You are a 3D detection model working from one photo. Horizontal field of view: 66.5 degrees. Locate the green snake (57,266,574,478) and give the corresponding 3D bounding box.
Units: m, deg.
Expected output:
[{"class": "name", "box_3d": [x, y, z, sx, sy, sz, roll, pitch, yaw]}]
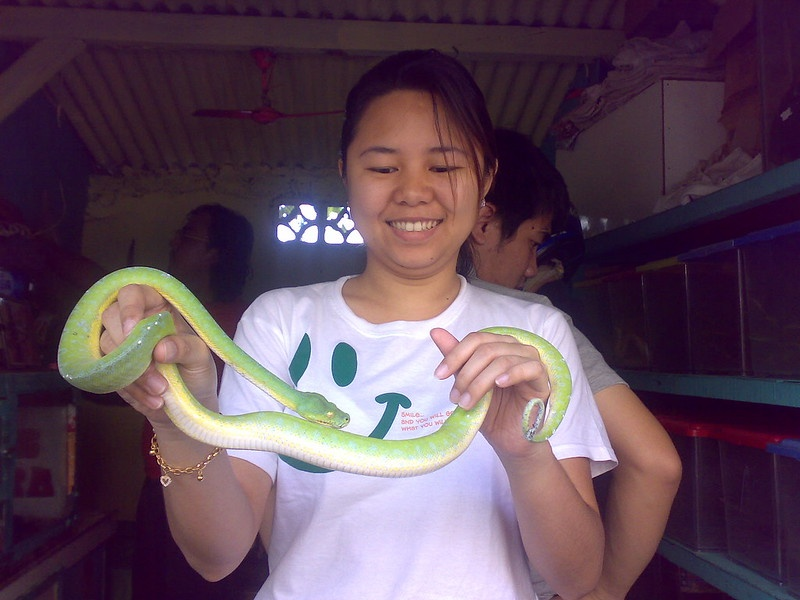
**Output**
[{"class": "green snake", "box_3d": [-0.400, 0.287, 2.733, 2.085, 0.283, 0.988, 10, 38, -19]}]
